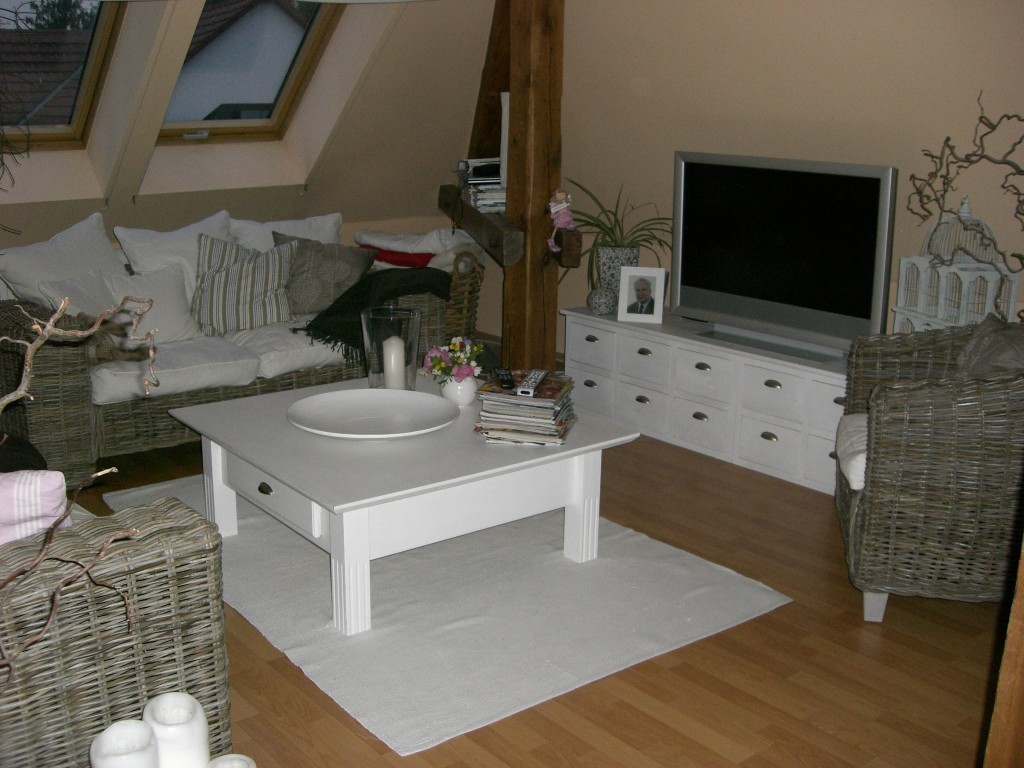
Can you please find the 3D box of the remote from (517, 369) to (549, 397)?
[{"bbox_3d":[0.060,-0.003,2.929,0.050,0.037,0.174,6,18,11],"label":"remote"}]

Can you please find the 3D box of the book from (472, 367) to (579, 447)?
[{"bbox_3d":[0.082,0.068,2.941,0.263,0.102,0.326,6,21,13],"label":"book"}]

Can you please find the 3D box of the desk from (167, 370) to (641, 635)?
[{"bbox_3d":[-0.295,0.302,2.835,1.134,0.396,1.061,-10,21,-35],"label":"desk"}]

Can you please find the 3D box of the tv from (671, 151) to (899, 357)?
[{"bbox_3d":[1.412,-0.663,3.968,0.342,0.714,1.127,-22,27,-37],"label":"tv"}]

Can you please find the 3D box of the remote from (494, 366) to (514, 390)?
[{"bbox_3d":[-0.035,-0.024,2.936,0.046,0.040,0.105,-7,19,-14],"label":"remote"}]

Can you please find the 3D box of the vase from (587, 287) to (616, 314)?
[{"bbox_3d":[0.519,-0.501,4.645,0.165,0.136,0.158,-9,16,-32],"label":"vase"}]

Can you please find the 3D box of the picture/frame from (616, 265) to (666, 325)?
[{"bbox_3d":[0.728,-0.506,4.485,0.386,0.412,0.029,5,17,7],"label":"picture/frame"}]

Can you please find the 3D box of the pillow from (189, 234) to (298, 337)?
[{"bbox_3d":[-1.510,-0.527,4.361,0.596,0.503,0.173,3,-6,-36],"label":"pillow"}]

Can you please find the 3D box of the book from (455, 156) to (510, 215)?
[{"bbox_3d":[-0.179,-1.153,4.606,0.291,0.367,0.422,-19,26,-40],"label":"book"}]
